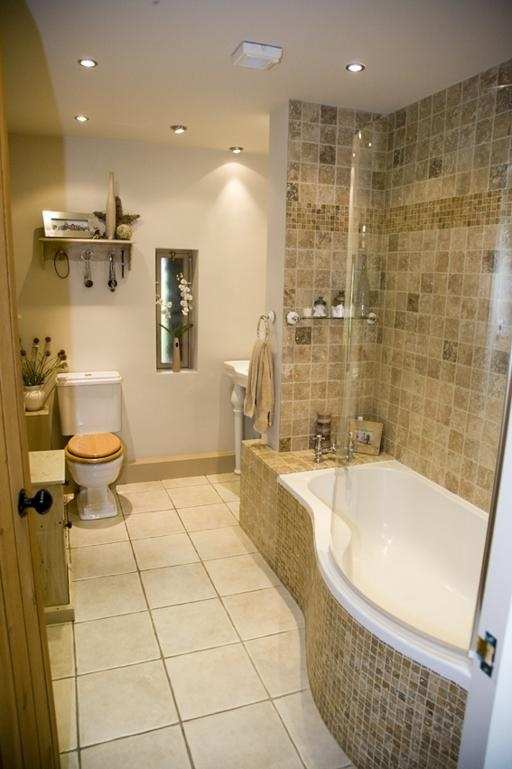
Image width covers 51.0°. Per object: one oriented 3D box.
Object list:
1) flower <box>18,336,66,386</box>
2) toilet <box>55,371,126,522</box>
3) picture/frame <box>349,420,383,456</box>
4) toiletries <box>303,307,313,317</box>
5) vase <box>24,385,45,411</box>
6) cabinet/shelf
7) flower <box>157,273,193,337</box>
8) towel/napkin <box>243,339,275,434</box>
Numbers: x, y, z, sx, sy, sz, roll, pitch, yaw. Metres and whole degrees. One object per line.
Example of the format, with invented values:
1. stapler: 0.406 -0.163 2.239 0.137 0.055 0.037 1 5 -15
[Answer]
1. flower: -1.416 -0.145 3.614 0.298 0.323 0.414 -3 9 -24
2. toilet: -1.107 0.400 3.618 0.394 0.828 0.706 -2 16 -17
3. picture/frame: 0.433 0.212 2.093 0.114 0.011 0.144 6 57 3
4. toiletries: 0.291 -0.397 2.997 0.031 0.063 0.072 7 11 39
5. vase: -1.388 0.082 3.343 0.123 0.179 0.144 -2 5 -19
6. cabinet/shelf: -0.928 0.701 2.442 0.148 0.697 0.380 -3 9 -24
7. flower: -0.634 -0.599 4.213 0.274 0.513 0.144 2 1 -13
8. towel/napkin: 0.026 0.015 3.175 0.124 0.554 0.242 -4 10 -31
